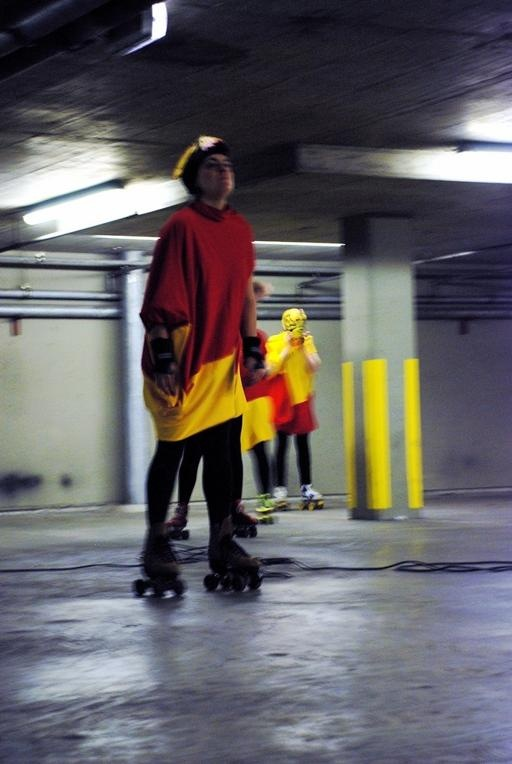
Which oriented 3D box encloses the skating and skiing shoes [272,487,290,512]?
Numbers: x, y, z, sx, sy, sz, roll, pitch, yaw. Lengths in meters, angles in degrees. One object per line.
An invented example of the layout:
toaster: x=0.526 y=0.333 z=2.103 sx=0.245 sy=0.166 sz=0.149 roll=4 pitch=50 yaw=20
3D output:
skating and skiing shoes: x=0.278 y=1.293 z=8.853 sx=0.224 sy=0.254 sz=0.291 roll=-2 pitch=7 yaw=-3

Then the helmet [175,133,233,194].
helmet: x=-0.244 y=-0.921 z=3.343 sx=0.268 sy=0.104 sz=0.231 roll=-48 pitch=-11 yaw=28

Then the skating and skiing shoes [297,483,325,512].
skating and skiing shoes: x=0.613 y=1.291 z=8.788 sx=0.240 sy=0.258 sz=0.363 roll=3 pitch=-14 yaw=-18

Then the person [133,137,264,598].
person: x=-0.211 y=-0.112 z=3.217 sx=0.504 sy=1.884 sz=0.486 roll=1 pitch=-4 yaw=0

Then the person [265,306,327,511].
person: x=0.460 y=0.273 z=8.335 sx=0.753 sy=2.022 sz=0.665 roll=-2 pitch=-6 yaw=25

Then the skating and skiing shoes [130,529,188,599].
skating and skiing shoes: x=-0.370 y=0.694 z=3.067 sx=0.198 sy=0.256 sz=0.196 roll=2 pitch=-4 yaw=-7
